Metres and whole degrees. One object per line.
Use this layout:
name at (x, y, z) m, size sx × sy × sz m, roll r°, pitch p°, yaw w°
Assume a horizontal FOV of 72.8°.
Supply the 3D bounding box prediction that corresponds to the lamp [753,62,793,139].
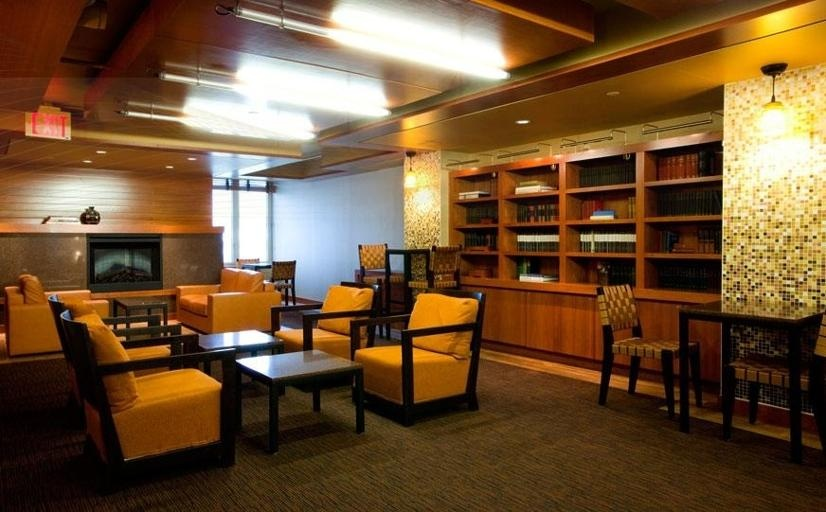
lamp at (3.435, -1.472, 5.340) m, size 0.314 × 0.683 × 0.427 m, roll 9°, pitch 17°, yaw 29°

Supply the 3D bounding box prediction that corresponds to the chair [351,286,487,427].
chair at (0.034, 0.955, 5.681) m, size 1.444 × 1.263 × 1.330 m, roll 1°, pitch -2°, yaw -32°

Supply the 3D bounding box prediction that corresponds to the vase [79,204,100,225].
vase at (-2.825, -0.349, 4.912) m, size 0.182 × 0.138 × 0.163 m, roll 0°, pitch -3°, yaw -3°

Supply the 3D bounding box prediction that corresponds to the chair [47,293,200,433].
chair at (-2.938, 0.973, 5.763) m, size 1.761 × 1.570 × 1.331 m, roll -2°, pitch 2°, yaw -32°

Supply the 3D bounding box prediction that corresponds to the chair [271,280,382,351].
chair at (-1.050, 0.701, 6.511) m, size 0.984 × 0.790 × 0.864 m, roll 3°, pitch -5°, yaw -32°

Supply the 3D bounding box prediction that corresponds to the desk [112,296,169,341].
desk at (-3.814, 0.790, 7.901) m, size 0.878 × 0.457 × 0.421 m, roll -2°, pitch -11°, yaw -25°

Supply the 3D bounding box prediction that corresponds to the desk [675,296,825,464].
desk at (3.057, 1.076, 5.507) m, size 1.418 × 1.292 × 1.510 m, roll 2°, pitch -3°, yaw -44°
